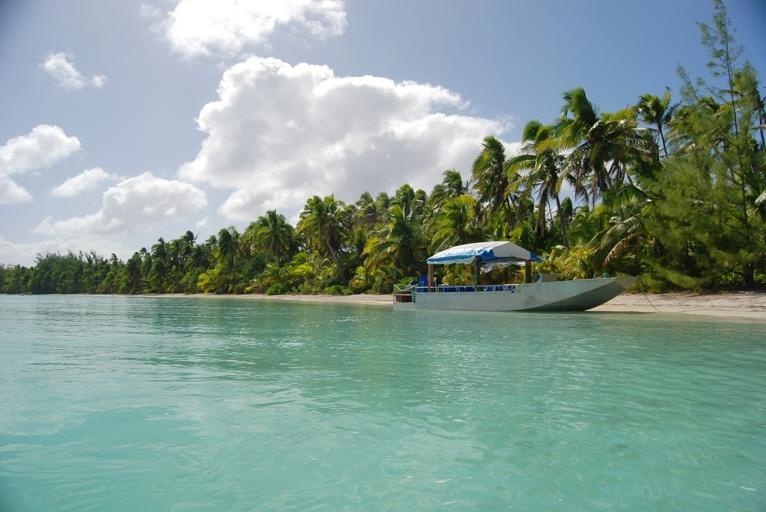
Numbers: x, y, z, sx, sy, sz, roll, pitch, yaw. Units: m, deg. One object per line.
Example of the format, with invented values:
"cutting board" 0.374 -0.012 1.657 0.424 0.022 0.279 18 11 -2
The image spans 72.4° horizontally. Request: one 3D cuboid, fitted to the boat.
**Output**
"boat" 5.698 1.248 26.089 3.377 3.708 11.781 7 -7 -36
